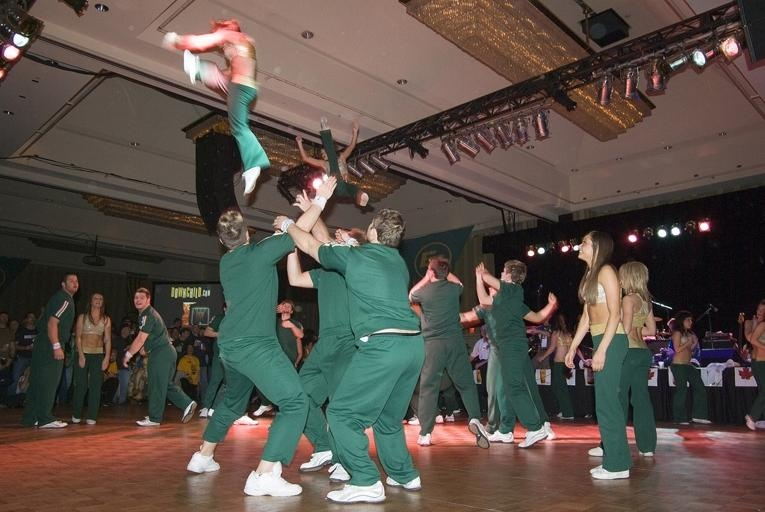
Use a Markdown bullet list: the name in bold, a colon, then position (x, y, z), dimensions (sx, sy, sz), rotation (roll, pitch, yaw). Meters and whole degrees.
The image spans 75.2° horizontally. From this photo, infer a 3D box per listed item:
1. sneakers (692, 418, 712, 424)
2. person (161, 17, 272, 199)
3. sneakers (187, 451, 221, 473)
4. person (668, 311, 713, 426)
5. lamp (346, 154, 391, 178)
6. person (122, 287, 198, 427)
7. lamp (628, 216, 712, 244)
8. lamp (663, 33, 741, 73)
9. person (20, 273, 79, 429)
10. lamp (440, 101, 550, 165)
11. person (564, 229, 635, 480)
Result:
- **sneakers**: position (5.287, 2.730, 8.187), dimensions (0.286, 0.072, 0.136), rotation (-1, -18, 0)
- **person**: position (-1.792, -1.701, 5.523), dimensions (1.187, 1.905, 0.955), rotation (3, 6, -4)
- **sneakers**: position (-1.726, 2.005, 4.807), dimensions (0.149, 0.148, 0.316), rotation (1, -9, 15)
- **person**: position (5.065, 1.872, 8.347), dimensions (0.546, 1.827, 0.726), rotation (-11, -20, 30)
- **lamp**: position (-0.272, -1.728, 9.461), dimensions (0.434, 0.163, 0.454), rotation (23, -34, -28)
- **person**: position (-3.429, 1.550, 7.593), dimensions (1.026, 2.048, 0.720), rotation (1, -8, -22)
- **lamp**: position (6.899, -0.567, 11.995), dimensions (1.818, 0.257, 0.666), rotation (-10, -21, 26)
- **lamp**: position (4.428, -2.752, 6.823), dimensions (0.844, 0.232, 0.363), rotation (-14, -23, 35)
- **person**: position (-4.936, 1.408, 7.440), dimensions (0.526, 2.247, 0.913), rotation (12, -21, -33)
- **lamp**: position (1.912, -2.206, 8.718), dimensions (2.070, 0.637, 0.565), rotation (-17, 20, 42)
- **person**: position (2.132, 0.906, 4.804), dimensions (0.473, 2.353, 0.478), rotation (-7, -19, 20)
